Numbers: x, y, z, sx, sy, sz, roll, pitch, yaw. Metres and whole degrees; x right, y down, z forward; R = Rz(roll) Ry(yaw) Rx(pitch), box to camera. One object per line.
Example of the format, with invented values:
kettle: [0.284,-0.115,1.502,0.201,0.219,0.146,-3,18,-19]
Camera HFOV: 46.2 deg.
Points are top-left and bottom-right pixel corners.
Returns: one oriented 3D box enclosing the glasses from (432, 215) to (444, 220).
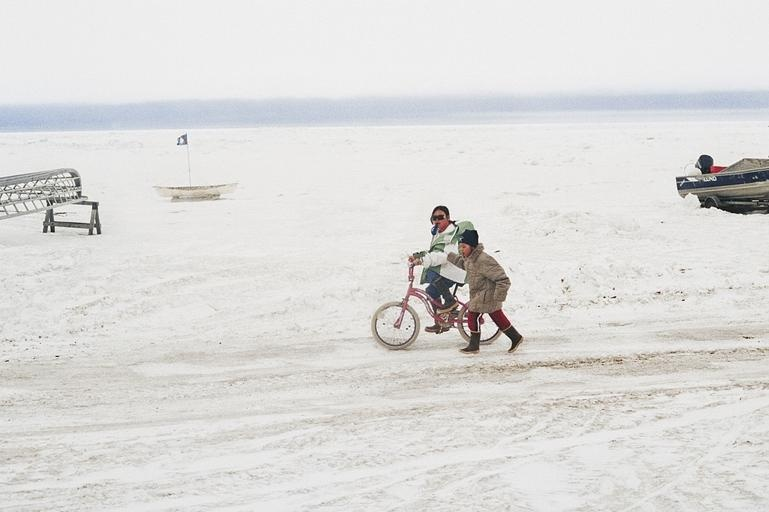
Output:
glasses: [1.079,-0.780,18.447,0.276,0.126,0.095,7,14,41]

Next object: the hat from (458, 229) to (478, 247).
hat: [1.711,-0.358,18.206,0.379,0.267,0.345,22,10,19]

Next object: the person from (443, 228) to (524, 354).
person: [2.043,0.708,18.266,1.418,2.488,0.609,-1,11,8]

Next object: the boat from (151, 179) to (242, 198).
boat: [-9.178,-3.141,43.984,3.679,0.598,1.101,-3,10,-10]
